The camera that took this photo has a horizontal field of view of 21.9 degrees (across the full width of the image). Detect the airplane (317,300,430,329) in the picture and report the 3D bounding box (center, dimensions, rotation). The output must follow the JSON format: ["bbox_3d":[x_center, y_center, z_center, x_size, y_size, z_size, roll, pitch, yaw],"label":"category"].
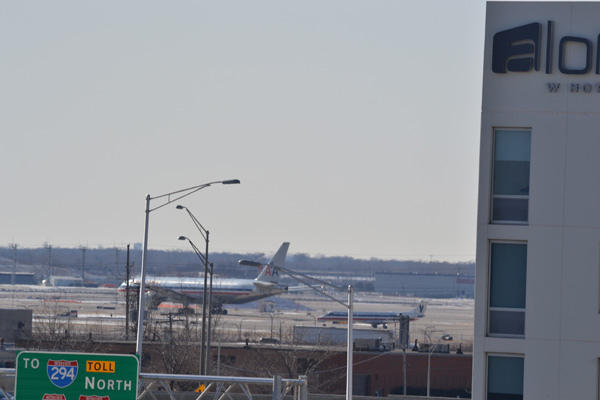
[{"bbox_3d":[12.813,19.534,269.488,19.465,5.478,17.263,2,2,3],"label":"airplane"}]

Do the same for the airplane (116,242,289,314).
[{"bbox_3d":[-15.958,13.607,273.357,25.544,14.435,45.957,0,-7,9],"label":"airplane"}]
